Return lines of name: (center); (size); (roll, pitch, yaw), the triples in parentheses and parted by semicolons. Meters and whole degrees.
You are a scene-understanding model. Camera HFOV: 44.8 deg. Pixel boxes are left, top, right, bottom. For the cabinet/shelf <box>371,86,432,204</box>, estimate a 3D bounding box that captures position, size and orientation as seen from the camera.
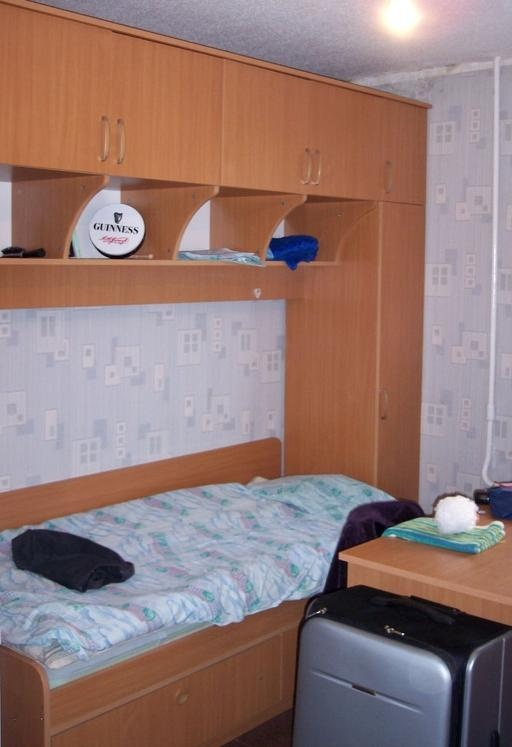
cabinet/shelf: (0.712, -1.130, 3.070); (0.186, 0.550, 0.580); (12, 15, 41)
